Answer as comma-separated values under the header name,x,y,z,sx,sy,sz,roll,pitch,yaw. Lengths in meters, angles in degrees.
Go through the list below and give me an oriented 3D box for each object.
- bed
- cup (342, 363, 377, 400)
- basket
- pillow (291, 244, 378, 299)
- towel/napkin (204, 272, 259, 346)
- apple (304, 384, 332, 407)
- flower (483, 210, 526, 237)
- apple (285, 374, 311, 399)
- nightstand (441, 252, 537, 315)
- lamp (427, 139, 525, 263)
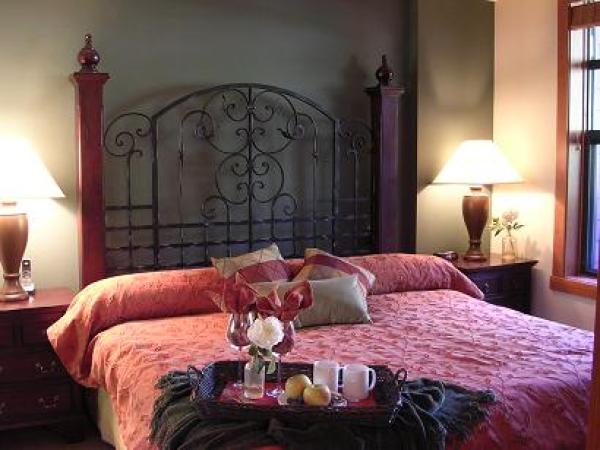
name,x,y,z,sx,sy,sz,roll,pitch,yaw
bed,0.036,0.031,3.113,2.441,2.158,1.436,-4,6,-28
cup,0.224,0.625,2.021,0.147,0.132,0.093,1,0,-37
basket,-0.017,0.671,1.894,0.598,0.138,0.364,0,4,0
pillow,0.234,0.270,3.180,0.325,0.114,0.356,16,12,-14
towel/napkin,-0.275,0.349,2.011,0.222,0.306,0.078,3,10,11
apple,0.062,0.630,1.842,0.077,0.079,0.081,3,-1,-2
flower,1.747,-0.029,4.286,0.226,0.250,0.235,1,17,34
apple,-0.008,0.614,1.948,0.081,0.090,0.085,4,16,22
nightstand,1.612,0.409,4.224,0.729,0.764,0.484,-8,13,-37
lamp,1.367,-0.223,4.359,0.886,1.209,0.884,-1,2,-1
